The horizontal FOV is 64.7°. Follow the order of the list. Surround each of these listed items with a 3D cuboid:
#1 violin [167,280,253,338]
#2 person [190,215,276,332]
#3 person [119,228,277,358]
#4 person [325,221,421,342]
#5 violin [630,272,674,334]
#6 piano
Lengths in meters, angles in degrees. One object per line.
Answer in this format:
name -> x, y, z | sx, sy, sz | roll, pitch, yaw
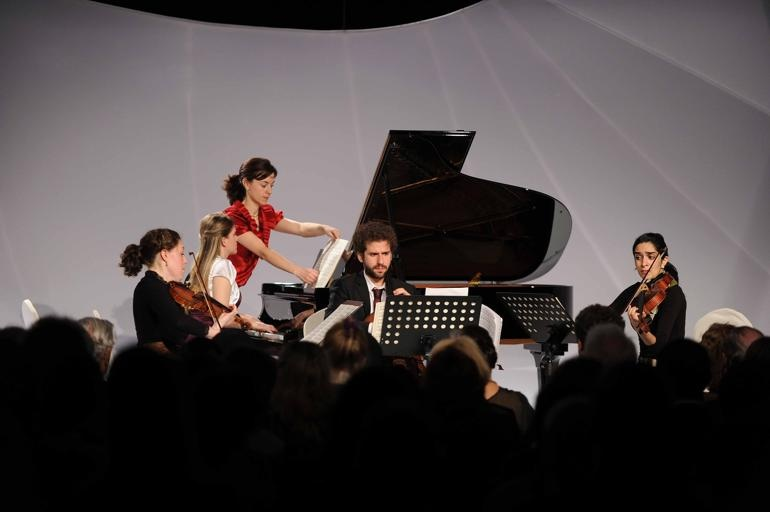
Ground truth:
violin -> -1.371, 0.394, 4.736 | 0.575, 0.236, 0.129 | 26, -33, -30
person -> -1.177, 0.149, 5.199 | 0.903, 1.127, 0.857 | 1, -2, -29
person -> -1.539, 0.268, 4.933 | 1.061, 1.206, 0.798 | -4, -1, -27
person -> -0.098, 0.110, 5.011 | 0.658, 0.826, 0.394 | 4, -7, 3
violin -> 2.443, 0.379, 5.452 | 0.215, 0.372, 0.536 | 32, 39, 9
piano -> 0.361, -0.072, 6.768 | 3.268, 2.470, 1.868 | 1, -5, -16
